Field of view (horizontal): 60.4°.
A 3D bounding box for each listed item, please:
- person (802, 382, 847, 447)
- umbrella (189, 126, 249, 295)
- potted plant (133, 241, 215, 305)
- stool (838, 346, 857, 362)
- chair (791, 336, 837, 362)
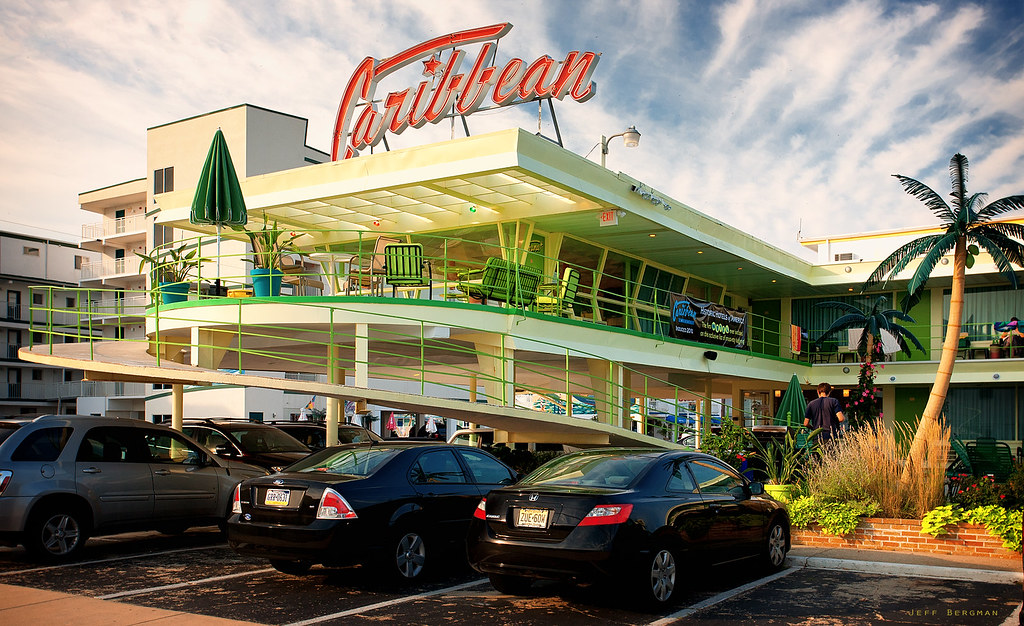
[{"bbox_3d":[7.716,2.438,21.629,0.901,1.408,2.308,4,10,19],"label":"person"},{"bbox_3d":[-7.626,-2.916,22.859,1.620,3.367,1.386,4,10,1],"label":"umbrella"},{"bbox_3d":[-9.252,-1.061,24.171,1.846,1.215,1.490,-9,-7,35],"label":"potted plant"},{"bbox_3d":[14.950,1.924,39.077,0.717,0.947,0.717,2,-4,-18],"label":"stool"},{"bbox_3d":[13.905,1.774,39.718,1.618,1.045,2.627,4,9,20],"label":"chair"}]
